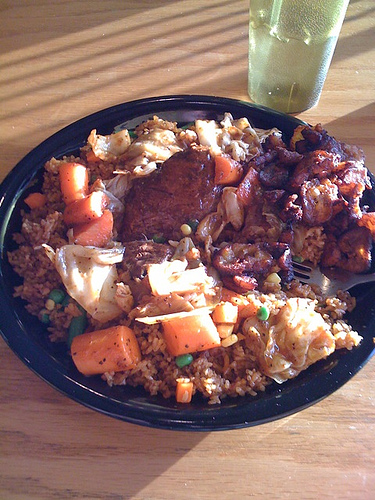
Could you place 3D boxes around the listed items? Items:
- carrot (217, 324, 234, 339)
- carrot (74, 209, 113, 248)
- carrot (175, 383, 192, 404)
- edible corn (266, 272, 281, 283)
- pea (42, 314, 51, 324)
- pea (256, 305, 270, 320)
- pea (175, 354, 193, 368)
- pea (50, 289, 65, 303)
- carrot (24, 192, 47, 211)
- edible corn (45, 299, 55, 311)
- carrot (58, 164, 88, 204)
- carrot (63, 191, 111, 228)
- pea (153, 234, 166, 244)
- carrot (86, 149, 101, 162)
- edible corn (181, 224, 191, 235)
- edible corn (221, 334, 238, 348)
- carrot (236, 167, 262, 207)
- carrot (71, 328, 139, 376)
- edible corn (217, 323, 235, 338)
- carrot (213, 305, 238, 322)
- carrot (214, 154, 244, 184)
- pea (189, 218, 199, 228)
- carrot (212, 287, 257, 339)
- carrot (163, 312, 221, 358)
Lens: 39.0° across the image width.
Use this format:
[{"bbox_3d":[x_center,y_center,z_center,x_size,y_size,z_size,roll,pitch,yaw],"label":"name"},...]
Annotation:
[{"bbox_3d":[0.124,0.272,1.787,0.048,0.045,0.044,15,74,47],"label":"carrot"},{"bbox_3d":[-0.346,-0.079,2.005,0.120,0.068,0.158,43,86,-10],"label":"carrot"},{"bbox_3d":[-0.014,0.463,1.706,0.070,0.061,0.076,2,86,-4],"label":"carrot"},{"bbox_3d":[0.319,0.105,1.974,0.042,0.032,0.038,3,35,2],"label":"edible corn"},{"bbox_3d":[-0.509,0.248,1.893,0.025,0.024,0.031,-12,63,-4],"label":"pea"},{"bbox_3d":[0.252,0.213,1.789,0.049,0.026,0.041,9,100,34],"label":"pea"},{"bbox_3d":[-0.014,0.368,1.762,0.054,0.028,0.037,-30,92,17],"label":"pea"},{"bbox_3d":[-0.484,0.170,1.951,0.044,0.050,0.035,11,92,3],"label":"pea"},{"bbox_3d":[-0.601,-0.196,2.083,0.075,0.025,0.056,-29,89,-11],"label":"carrot"},{"bbox_3d":[-0.501,0.199,1.916,0.028,0.016,0.031,14,72,2],"label":"edible corn"},{"bbox_3d":[-0.445,-0.257,2.087,0.154,0.052,0.140,-12,95,-30],"label":"carrot"},{"bbox_3d":[-0.398,-0.153,2.066,0.182,0.064,0.108,-34,99,18],"label":"carrot"},{"bbox_3d":[-0.115,-0.035,2.087,0.046,0.042,0.045,-2,63,1],"label":"pea"},{"bbox_3d":[-0.391,-0.387,2.174,0.051,0.050,0.045,2,93,3],"label":"carrot"},{"bbox_3d":[-0.009,-0.080,2.064,0.038,0.040,0.038,6,31,42],"label":"edible corn"},{"bbox_3d":[0.139,0.306,1.787,0.060,0.042,0.026,-15,64,-6],"label":"edible corn"},{"bbox_3d":[0.241,-0.246,2.080,0.039,0.132,0.134,17,66,40],"label":"carrot"},{"bbox_3d":[-0.279,0.336,1.753,0.215,0.078,0.140,-9,62,-4],"label":"carrot"},{"bbox_3d":[0.126,0.270,1.787,0.057,0.045,0.044,5,80,14],"label":"edible corn"},{"bbox_3d":[0.126,0.215,1.781,0.110,0.054,0.062,1,98,-9],"label":"carrot"},{"bbox_3d":[0.157,-0.309,2.061,0.133,0.045,0.099,-19,109,-25],"label":"carrot"},{"bbox_3d":[0.021,-0.103,2.072,0.039,0.035,0.029,0,108,-2],"label":"pea"},{"bbox_3d":[0.161,0.222,1.818,0.155,0.040,0.149,-40,67,-11],"label":"carrot"},{"bbox_3d":[0.036,0.254,1.831,0.166,0.201,0.129,13,80,9],"label":"carrot"}]
